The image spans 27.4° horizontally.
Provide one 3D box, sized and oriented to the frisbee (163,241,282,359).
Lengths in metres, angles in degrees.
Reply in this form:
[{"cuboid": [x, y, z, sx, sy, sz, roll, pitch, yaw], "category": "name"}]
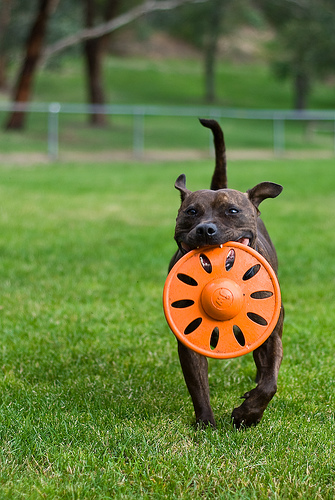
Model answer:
[{"cuboid": [0.240, 0.220, 3.005, 0.521, 0.508, 0.175, 0, 7, 0], "category": "frisbee"}]
